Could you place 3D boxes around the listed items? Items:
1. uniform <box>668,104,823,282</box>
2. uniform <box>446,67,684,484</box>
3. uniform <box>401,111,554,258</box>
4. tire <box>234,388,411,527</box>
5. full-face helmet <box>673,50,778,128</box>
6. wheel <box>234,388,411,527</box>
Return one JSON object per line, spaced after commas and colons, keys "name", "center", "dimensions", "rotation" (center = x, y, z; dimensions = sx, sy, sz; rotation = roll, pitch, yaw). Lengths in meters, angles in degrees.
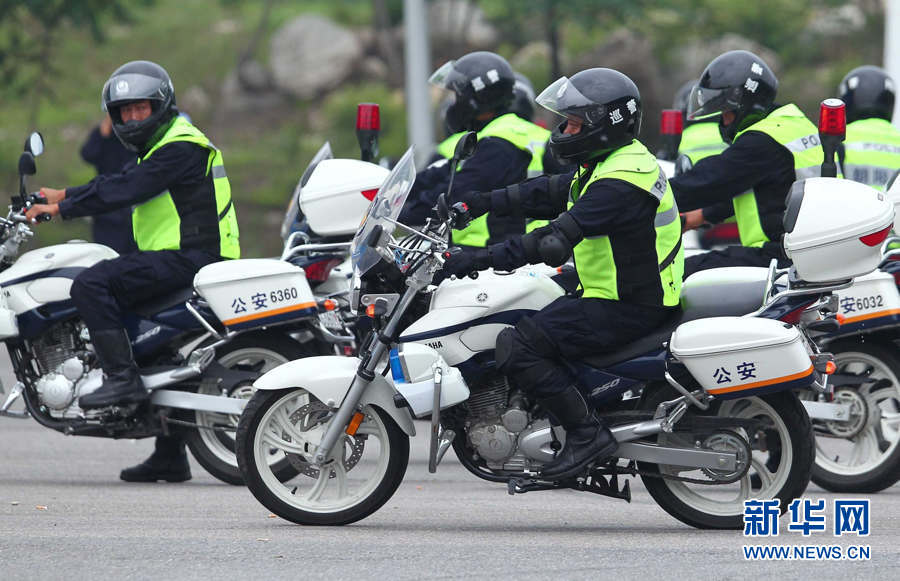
{"name": "uniform", "center": [2.549, -0.900, 13.932], "dimensions": [1.005, 0.924, 1.828], "rotation": [-2, 1, 1]}
{"name": "uniform", "center": [1.012, -0.150, 12.377], "dimensions": [1.721, 3.175, 0.974], "rotation": [0, 11, -4]}
{"name": "uniform", "center": [0.332, -1.010, 14.300], "dimensions": [1.454, 1.302, 1.182], "rotation": [7, 9, 8]}
{"name": "tire", "center": [-1.024, 1.317, 12.531], "dimensions": [1.272, 1.079, 0.311], "rotation": [3, -3, 2]}
{"name": "full-face helmet", "center": [2.358, -1.746, 13.540], "dimensions": [0.836, 0.583, 0.592], "rotation": [2, 4, 5]}
{"name": "wheel", "center": [-1.024, 1.317, 12.531], "dimensions": [1.272, 1.079, 0.311], "rotation": [3, -3, 2]}
